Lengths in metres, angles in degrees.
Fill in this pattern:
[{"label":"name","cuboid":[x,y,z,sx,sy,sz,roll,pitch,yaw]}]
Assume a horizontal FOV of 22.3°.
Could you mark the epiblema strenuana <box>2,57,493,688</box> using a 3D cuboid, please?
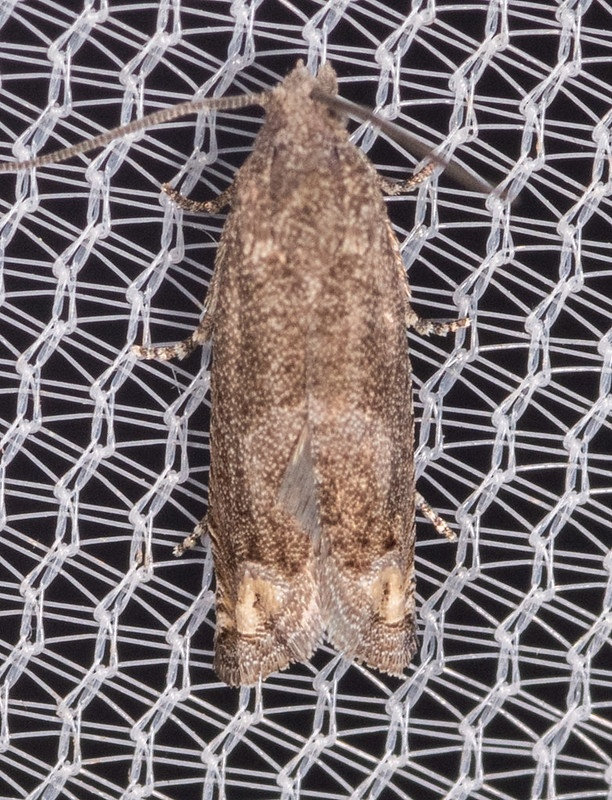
[{"label":"epiblema strenuana","cuboid":[-0.041,-0.037,3.974,0.621,0.531,1.511,-2,83,0]}]
